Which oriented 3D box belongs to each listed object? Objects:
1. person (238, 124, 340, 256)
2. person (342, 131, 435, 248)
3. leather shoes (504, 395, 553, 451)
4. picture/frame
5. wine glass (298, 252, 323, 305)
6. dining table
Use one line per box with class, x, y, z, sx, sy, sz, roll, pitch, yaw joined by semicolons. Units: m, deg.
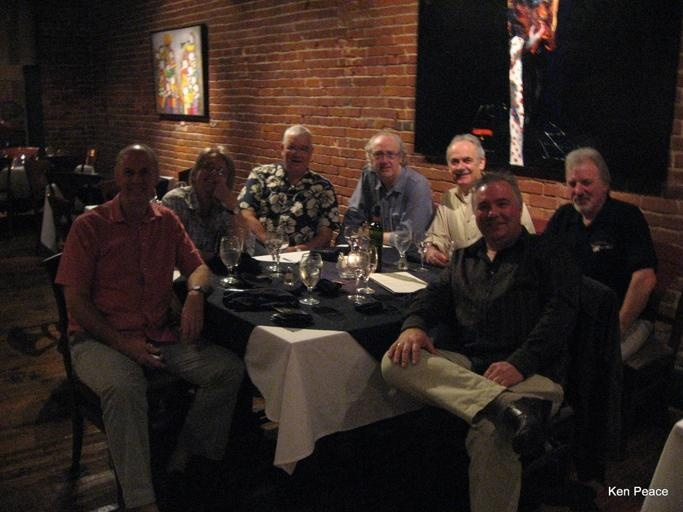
person;-0.344;-0.431;3.549;0.709;0.853;0.653;2;13;-24
person;0.314;-0.370;3.581;0.649;0.876;0.583;14;25;32
leather shoes;0.639;0.545;1.794;0.159;0.076;0.190;-10;44;0
picture/frame;-2.117;-2.429;6.869;0.153;1.064;1.463;-14;28;-37
wine glass;-0.131;0.108;2.233;0.116;0.248;0.119;7;26;9
dining table;-0.257;0.530;2.357;1.208;0.429;1.184;7;-3;-29
